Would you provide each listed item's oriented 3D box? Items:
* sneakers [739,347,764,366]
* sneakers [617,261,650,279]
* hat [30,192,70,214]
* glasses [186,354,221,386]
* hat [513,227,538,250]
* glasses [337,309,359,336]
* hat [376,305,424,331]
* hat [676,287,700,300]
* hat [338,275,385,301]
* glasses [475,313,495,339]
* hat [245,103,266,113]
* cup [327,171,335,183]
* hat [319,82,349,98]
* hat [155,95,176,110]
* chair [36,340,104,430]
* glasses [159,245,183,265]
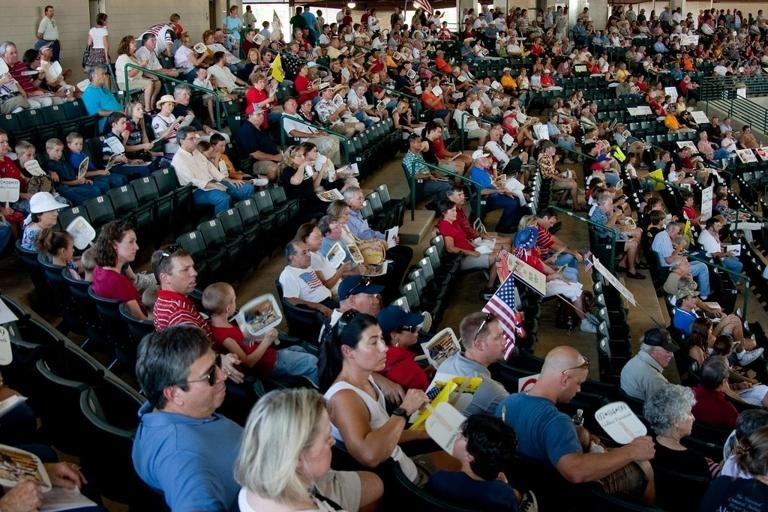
[{"bbox_3d":[5.265,1.422,7.719,0.263,0.119,0.271,-13,-9,6],"label":"sneakers"},{"bbox_3d":[4.470,0.258,9.568,0.574,0.245,0.199,9,12,22],"label":"sneakers"},{"bbox_3d":[-3.734,-0.590,5.986,0.319,0.175,0.257,-16,10,8],"label":"hat"},{"bbox_3d":[-1.006,0.638,2.924,0.187,0.062,0.192,-4,25,7],"label":"glasses"},{"bbox_3d":[1.980,-0.228,7.483,0.294,0.315,0.409,9,19,12],"label":"hat"},{"bbox_3d":[-0.232,0.430,3.496,0.096,0.162,0.083,25,4,41],"label":"glasses"},{"bbox_3d":[0.139,0.554,4.601,0.324,0.166,0.214,-8,21,-6],"label":"hat"},{"bbox_3d":[4.281,0.544,7.548,0.268,0.201,0.213,10,20,16],"label":"hat"},{"bbox_3d":[-0.212,0.281,4.998,0.353,0.182,0.230,-6,7,-12],"label":"hat"},{"bbox_3d":[0.808,0.552,4.301,0.050,0.171,0.168,22,17,8],"label":"glasses"},{"bbox_3d":[-2.360,-2.724,9.995,0.327,0.216,0.842,0,20,-13],"label":"hat"},{"bbox_3d":[-0.869,-1.324,9.066,0.114,0.154,0.152,-7,12,-31],"label":"cup"},{"bbox_3d":[-1.183,-3.879,12.658,0.696,0.196,0.718,-4,10,-8],"label":"hat"},{"bbox_3d":[-3.705,-2.619,9.058,0.341,0.134,0.300,-24,-11,34],"label":"hat"},{"bbox_3d":[-2.374,0.990,4.044,0.362,0.473,0.419,26,38,3],"label":"chair"},{"bbox_3d":[-1.790,0.005,4.469,0.172,0.055,0.183,-22,6,18],"label":"glasses"}]
